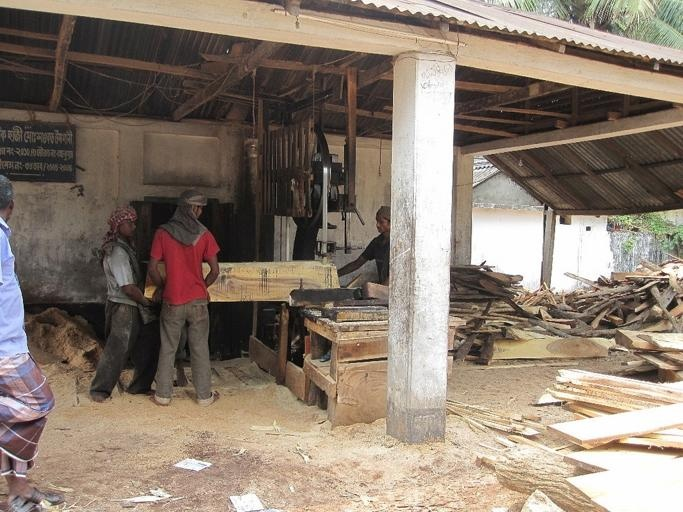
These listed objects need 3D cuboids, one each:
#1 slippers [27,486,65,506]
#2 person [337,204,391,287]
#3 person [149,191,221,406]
[{"bbox_3d":[-2.501,2.024,4.971,0.270,0.104,0.122,4,8,-20],"label":"slippers"},{"bbox_3d":[0.516,-0.073,9.330,0.861,1.325,0.955,1,6,-31],"label":"person"},{"bbox_3d":[-1.987,0.535,7.435,0.840,2.697,0.450,-1,8,-16],"label":"person"}]
